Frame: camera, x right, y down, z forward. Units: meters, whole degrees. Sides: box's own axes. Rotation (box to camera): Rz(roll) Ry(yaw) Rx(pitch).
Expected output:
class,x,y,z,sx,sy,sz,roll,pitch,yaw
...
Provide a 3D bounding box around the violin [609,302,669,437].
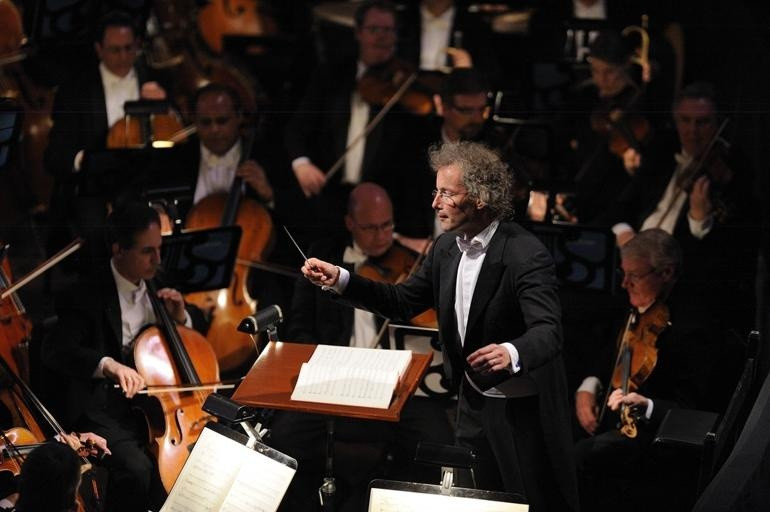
class,x,y,z,sx,sy,sz,roll,pitch,yaw
violin,1.678,0.730,5.130,0.151,0.843,0.368,20,-23,-32

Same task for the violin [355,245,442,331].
class,x,y,z,sx,sy,sz,roll,pitch,yaw
violin,0.002,0.318,5.336,0.337,0.759,0.118,12,-6,15

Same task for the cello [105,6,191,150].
class,x,y,z,sx,sy,sz,roll,pitch,yaw
cello,-1.751,-1.239,5.676,0.563,0.890,0.281,-11,11,-1
